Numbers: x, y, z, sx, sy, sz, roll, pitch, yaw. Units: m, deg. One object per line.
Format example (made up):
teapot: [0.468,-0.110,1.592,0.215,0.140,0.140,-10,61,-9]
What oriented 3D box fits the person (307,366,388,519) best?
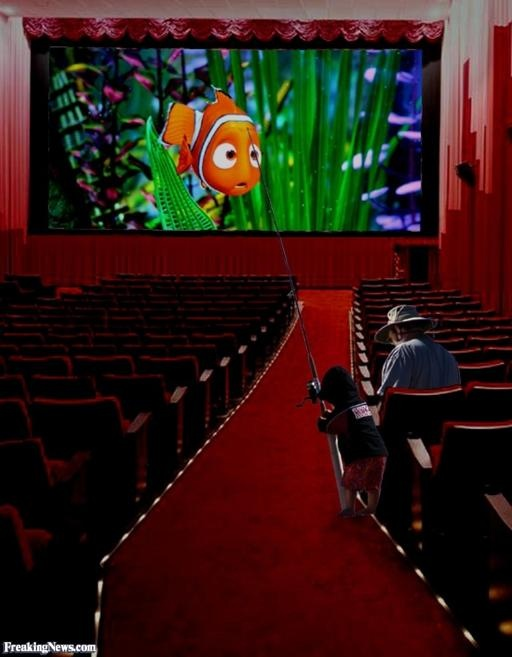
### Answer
person: [0.470,0.595,2.533,0.371,0.808,0.373,-1,1,14]

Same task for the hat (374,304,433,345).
hat: [1.044,-0.092,3.650,0.280,0.174,0.310,9,-26,-25]
